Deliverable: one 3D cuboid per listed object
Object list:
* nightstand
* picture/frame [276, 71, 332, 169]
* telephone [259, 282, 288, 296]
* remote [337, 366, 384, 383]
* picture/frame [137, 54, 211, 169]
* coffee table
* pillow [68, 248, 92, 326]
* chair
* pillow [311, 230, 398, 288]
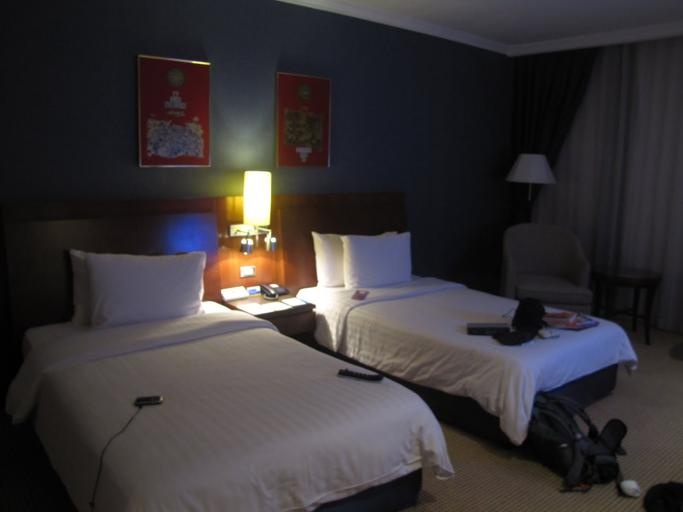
[{"bbox_3d":[-0.578,0.488,4.386,0.516,0.296,0.499,-7,15,-39],"label":"nightstand"},{"bbox_3d":[-0.392,-1.338,4.810,0.790,1.149,0.073,-8,14,-38],"label":"picture/frame"},{"bbox_3d":[-0.639,0.317,4.543,0.143,0.059,0.140,-5,14,-41],"label":"telephone"},{"bbox_3d":[0.112,0.726,3.065,0.251,0.071,0.105,0,7,0],"label":"remote"},{"bbox_3d":[-1.374,-1.180,4.116,0.636,0.851,0.025,-9,13,-36],"label":"picture/frame"},{"bbox_3d":[3.199,0.439,5.692,0.721,0.891,0.779,2,10,25],"label":"coffee table"},{"bbox_3d":[-1.896,0.228,3.612,0.151,0.518,0.295,-11,15,-42],"label":"pillow"},{"bbox_3d":[2.407,0.116,5.809,0.825,1.296,1.065,1,-2,2],"label":"chair"},{"bbox_3d":[0.101,0.054,4.808,0.503,0.532,0.151,0,3,-25],"label":"pillow"}]
